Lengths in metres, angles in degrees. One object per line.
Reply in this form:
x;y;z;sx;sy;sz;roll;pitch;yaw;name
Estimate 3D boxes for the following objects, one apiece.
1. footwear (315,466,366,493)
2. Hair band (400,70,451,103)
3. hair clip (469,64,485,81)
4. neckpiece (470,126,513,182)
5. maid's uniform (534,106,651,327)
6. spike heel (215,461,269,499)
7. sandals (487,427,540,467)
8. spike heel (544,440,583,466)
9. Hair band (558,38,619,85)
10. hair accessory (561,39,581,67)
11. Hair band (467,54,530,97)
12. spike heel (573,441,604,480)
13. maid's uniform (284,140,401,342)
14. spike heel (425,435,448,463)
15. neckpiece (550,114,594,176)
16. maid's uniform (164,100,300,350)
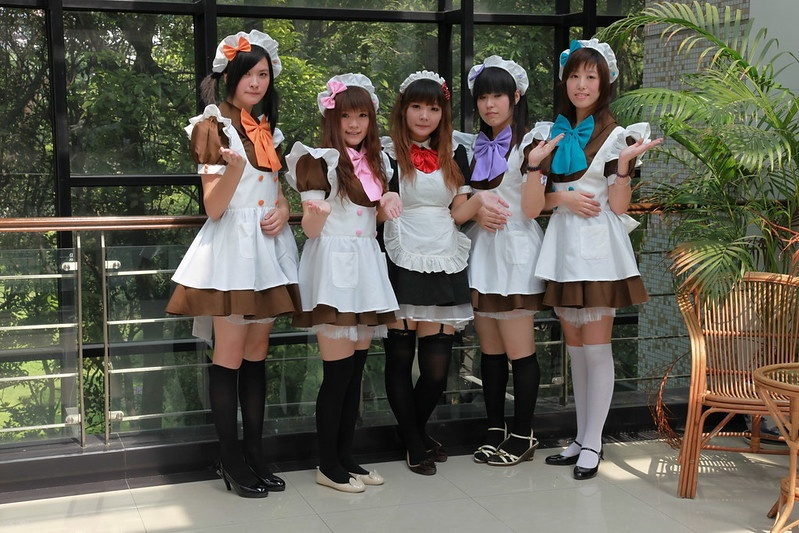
-0.295;1.084;3.360;0.211;0.080;0.103;2;6;17;footwear
0.137;-0.960;3.465;0.261;0.146;0.174;1;16;2;Hair band
0.404;-1.049;3.522;0.020;0.094;0.075;48;21;26;hair clip
0.503;-0.598;3.515;0.293;0.399;0.041;1;-9;30;neckpiece
1.026;-0.262;3.375;0.562;0.932;0.348;7;16;21;maid's uniform
-0.779;1.061;3.333;0.322;0.141;0.112;8;16;32;spike heel
0.628;1.012;3.649;0.275;0.139;0.132;-6;9;-18;sandals
0.916;1.039;3.632;0.257;0.107;0.089;0;-1;-9;spike heel
1.052;-1.122;3.522;0.267;0.274;0.108;19;23;16;Hair band
0.932;-1.152;3.514;0.145;0.152;0.063;1;2;33;hair accessory
0.533;-1.036;3.550;0.307;0.206;0.206;2;16;5;Hair band
1.012;1.040;3.503;0.085;0.098;0.248;-3;7;28;spike heel
-0.272;-0.102;3.255;0.550;0.997;0.315;-2;15;-10;maid's uniform
0.199;1.008;3.632;0.077;0.056;0.178;-6;13;-29;spike heel
0.916;-0.630;3.445;0.261;0.402;0.071;11;9;23;neckpiece
-0.814;-0.237;3.165;0.627;1.047;0.383;-2;15;-9;maid's uniform
